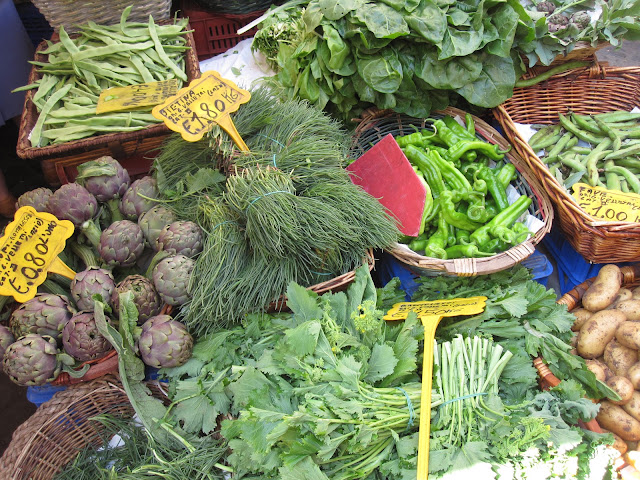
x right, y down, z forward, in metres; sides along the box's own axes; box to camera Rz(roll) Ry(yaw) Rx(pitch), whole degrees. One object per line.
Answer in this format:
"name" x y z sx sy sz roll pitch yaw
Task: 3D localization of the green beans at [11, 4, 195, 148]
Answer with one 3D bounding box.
"green beans" -1.141 -0.812 2.829 0.834 0.286 0.893 -10 44 2
